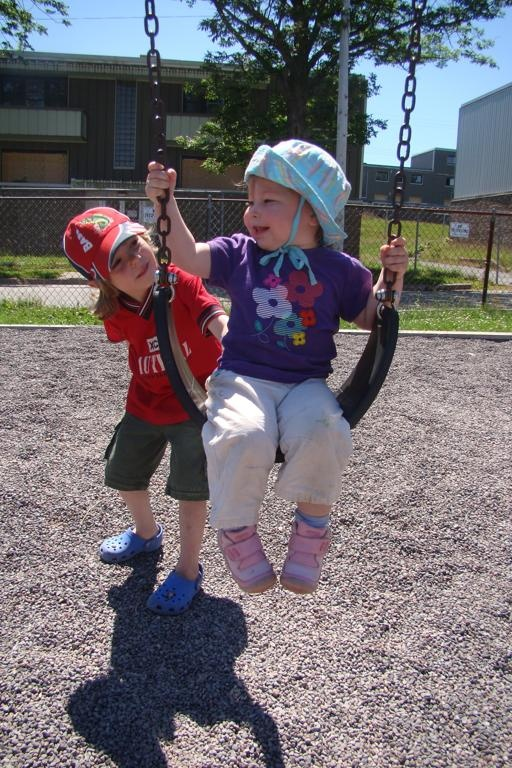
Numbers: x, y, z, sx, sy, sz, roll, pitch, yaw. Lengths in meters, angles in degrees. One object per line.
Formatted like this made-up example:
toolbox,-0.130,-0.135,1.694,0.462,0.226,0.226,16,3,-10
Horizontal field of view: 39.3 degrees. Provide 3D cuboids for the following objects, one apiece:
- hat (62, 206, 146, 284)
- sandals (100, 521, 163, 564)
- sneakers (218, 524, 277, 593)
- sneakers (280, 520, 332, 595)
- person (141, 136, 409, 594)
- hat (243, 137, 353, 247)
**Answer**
hat,-0.429,-0.391,1.998,0.264,0.202,0.196,13,15,36
sandals,-0.394,0.505,2.268,0.181,0.071,0.083,-3,4,-34
sneakers,-0.030,0.352,1.510,0.072,0.077,0.191,-10,20,-18
sneakers,0.104,0.381,1.547,0.093,0.174,0.114,6,13,8
person,0.062,-0.073,1.626,0.522,0.965,0.515,2,13,-12
hat,0.048,-0.477,1.754,0.277,0.150,0.236,18,-19,50
